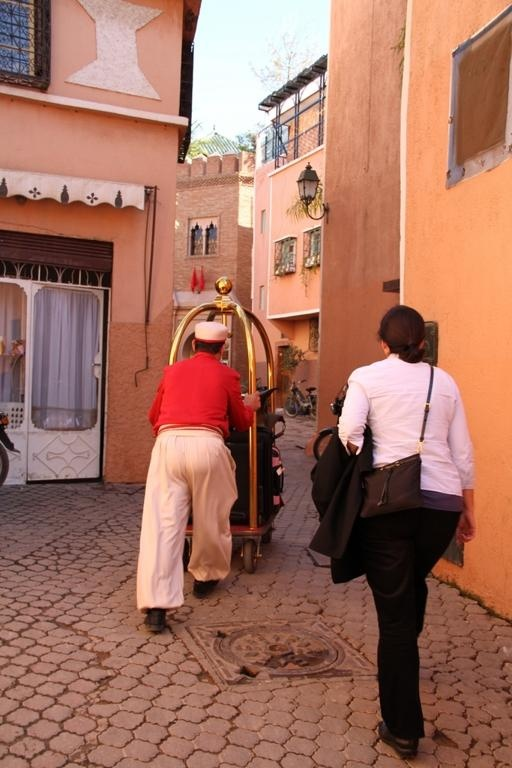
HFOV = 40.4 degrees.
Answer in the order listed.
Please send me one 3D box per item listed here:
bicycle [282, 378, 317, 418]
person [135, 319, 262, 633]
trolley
[{"bbox_3d":[1.667,0.556,23.858,0.896,0.861,1.438,-1,10,-21],"label":"bicycle"},{"bbox_3d":[-0.365,0.475,3.934,0.681,1.562,0.882,0,1,5],"label":"person"},{"bbox_3d":[-0.165,0.293,5.234,0.909,2.247,0.924,1,8,-8],"label":"trolley"}]
